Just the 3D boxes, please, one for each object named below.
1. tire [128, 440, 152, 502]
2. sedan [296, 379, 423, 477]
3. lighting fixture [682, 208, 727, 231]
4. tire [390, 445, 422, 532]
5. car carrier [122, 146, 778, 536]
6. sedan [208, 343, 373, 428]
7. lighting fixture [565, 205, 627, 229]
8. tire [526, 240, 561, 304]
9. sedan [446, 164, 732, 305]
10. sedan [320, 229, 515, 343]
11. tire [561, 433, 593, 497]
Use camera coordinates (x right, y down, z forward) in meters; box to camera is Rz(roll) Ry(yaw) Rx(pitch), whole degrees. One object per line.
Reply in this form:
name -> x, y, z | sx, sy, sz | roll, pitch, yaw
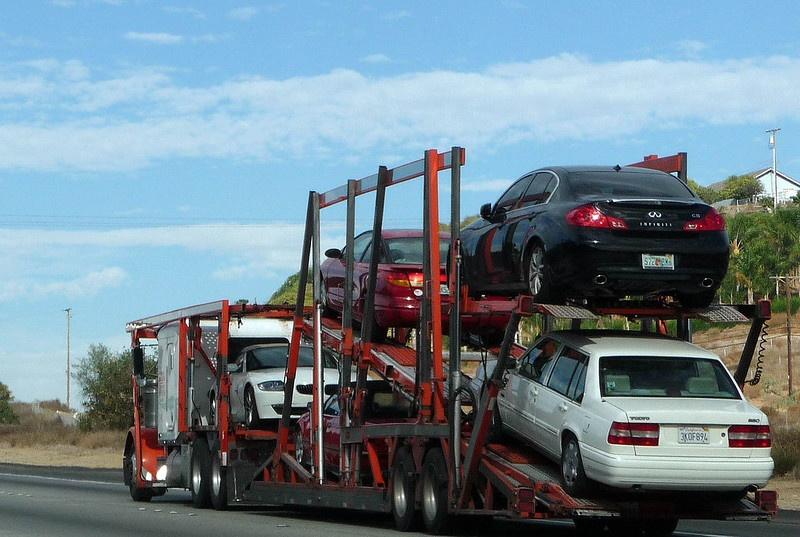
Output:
tire -> -6.057, 4.792, 25.739 | 0.403, 1.323, 1.293 | 3, 9, 7
sedan -> -0.910, 2.963, 20.529 | 1.254, 1.193, 2.780 | 2, -2, -19
lighting fixture -> 4.685, -0.756, 16.746 | 0.315, 0.298, 0.593 | 0, 5, 4
tire -> 0.086, 3.779, 18.658 | 0.328, 1.062, 0.790 | -2, -2, -29
car carrier -> -0.352, 2.347, 23.270 | 5.800, 7.046, 17.612 | 6, -6, -30
sedan -> -2.648, 2.404, 23.001 | 1.484, 1.023, 2.981 | 3, -11, -28
lighting fixture -> 3.036, -0.757, 16.698 | 0.671, 0.223, 0.406 | 2, 2, -33
tire -> 2.290, 0.055, 17.331 | 0.342, 1.007, 0.979 | 3, 1, -10
sedan -> 3.123, -0.515, 17.554 | 4.033, 1.909, 2.280 | -3, -2, 19
sedan -> -0.161, 0.253, 20.876 | 1.756, 1.319, 3.897 | 1, 2, -15
tire -> 2.632, 2.961, 16.311 | 0.269, 0.866, 0.860 | 6, -23, -11
